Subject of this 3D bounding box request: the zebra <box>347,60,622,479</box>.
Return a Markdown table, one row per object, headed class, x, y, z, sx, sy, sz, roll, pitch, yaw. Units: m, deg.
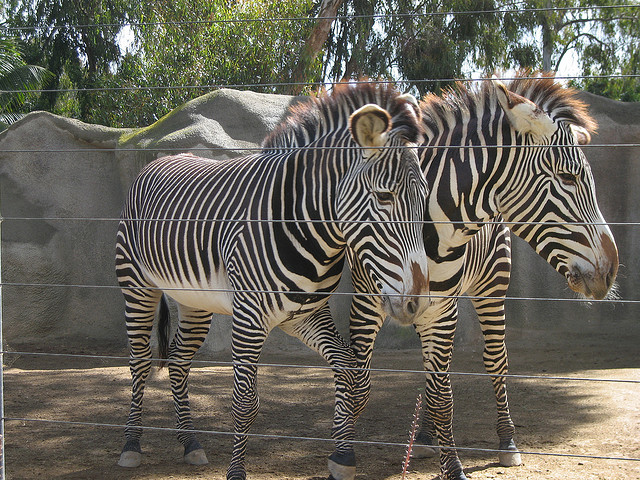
| class | x | y | z | sx | sy | sz | roll | pitch | yaw |
| --- | --- | --- | --- | --- | --- | --- | --- | --- | --- |
| zebra | 1.781 | 0.319 | 11.541 | 2.498 | 4.187 | 3.253 | 0 | 1 | 14 |
